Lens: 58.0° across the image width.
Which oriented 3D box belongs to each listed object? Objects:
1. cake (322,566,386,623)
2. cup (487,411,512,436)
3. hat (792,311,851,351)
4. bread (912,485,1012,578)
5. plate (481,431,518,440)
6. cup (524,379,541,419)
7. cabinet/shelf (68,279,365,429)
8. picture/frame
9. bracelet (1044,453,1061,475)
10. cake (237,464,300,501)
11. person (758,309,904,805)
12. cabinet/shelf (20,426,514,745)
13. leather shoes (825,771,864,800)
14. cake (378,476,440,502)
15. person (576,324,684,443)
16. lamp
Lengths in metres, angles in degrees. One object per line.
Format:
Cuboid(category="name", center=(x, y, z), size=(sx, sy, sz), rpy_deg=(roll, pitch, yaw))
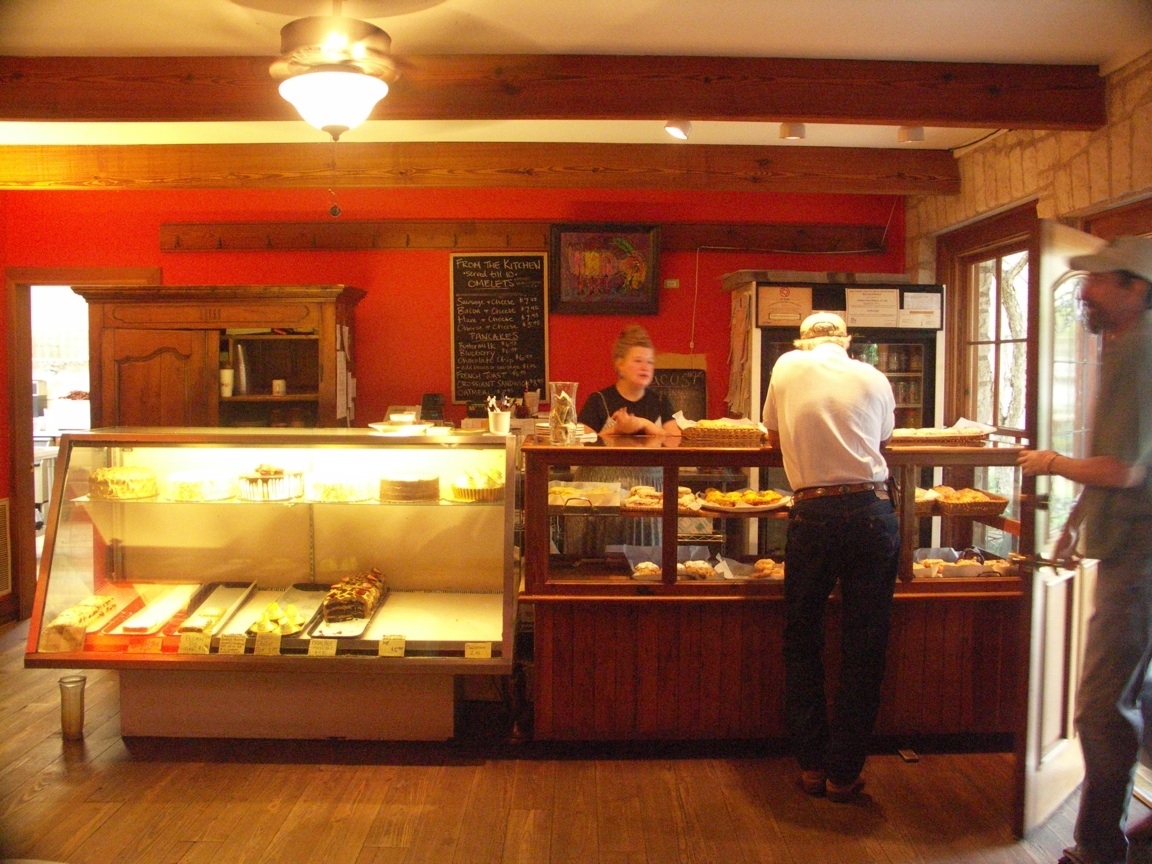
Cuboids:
Cuboid(category="cake", center=(-1.109, 0.828, 5.230), size=(0.306, 0.212, 0.224), rpy_deg=(-1, 2, -7))
Cuboid(category="cup", center=(-0.381, -0.038, 5.224), size=(0.124, 0.083, 0.103), rpy_deg=(-1, -1, -4))
Cuboid(category="hat", center=(1.226, -0.483, 5.111), size=(0.273, 0.168, 0.256), rpy_deg=(-1, -1, 3))
Cuboid(category="bread", center=(1.992, 0.495, 5.426), size=(0.542, 0.353, 0.507), rpy_deg=(-1, 5, 5))
Cuboid(category="plate", center=(-0.382, 0.019, 5.164), size=(0.168, 0.042, 0.098), rpy_deg=(-1, 2, -5))
Cuboid(category="cup", center=(-0.298, -0.229, 7.193), size=(0.132, 0.259, 0.384), rpy_deg=(-2, 2, -3))
Cuboid(category="cabinet/shelf", center=(-2.353, -0.224, 6.925), size=(1.577, 1.363, 0.588), rpy_deg=(-3, -8, -28))
Cuboid(category="picture/frame", center=(0.195, -1.180, 7.263), size=(0.744, 0.546, 0.061), rpy_deg=(0, 6, 1))
Cuboid(category="bracelet", center=(2.007, 0.134, 4.395), size=(0.032, 0.073, 0.069), rpy_deg=(7, -6, 9))
Cuboid(category="cake", center=(-1.516, 0.267, 5.188), size=(0.224, 0.089, 0.209), rpy_deg=(1, 2, -9))
Cuboid(category="person", center=(1.208, 0.562, 4.903), size=(0.613, 2.261, 0.373), rpy_deg=(-1, 2, 10))
Cuboid(category="cabinet/shelf", center=(-1.476, 0.806, 5.490), size=(2.647, 1.567, 1.156), rpy_deg=(-2, 11, 13))
Cuboid(category="leather shoes", center=(1.260, 1.658, 4.834), size=(0.076, 0.089, 0.231), rpy_deg=(0, 1, 40))
Cuboid(category="cake", center=(-0.825, 0.294, 5.184), size=(0.294, 0.122, 0.092), rpy_deg=(-2, 2, -11))
Cuboid(category="person", center=(0.347, -0.235, 5.964), size=(0.599, 0.791, 0.637), rpy_deg=(5, 2, 23))
Cuboid(category="lamp", center=(-1.173, -1.611, 5.054), size=(0.559, 0.352, 0.570), rpy_deg=(-13, -14, 35))
